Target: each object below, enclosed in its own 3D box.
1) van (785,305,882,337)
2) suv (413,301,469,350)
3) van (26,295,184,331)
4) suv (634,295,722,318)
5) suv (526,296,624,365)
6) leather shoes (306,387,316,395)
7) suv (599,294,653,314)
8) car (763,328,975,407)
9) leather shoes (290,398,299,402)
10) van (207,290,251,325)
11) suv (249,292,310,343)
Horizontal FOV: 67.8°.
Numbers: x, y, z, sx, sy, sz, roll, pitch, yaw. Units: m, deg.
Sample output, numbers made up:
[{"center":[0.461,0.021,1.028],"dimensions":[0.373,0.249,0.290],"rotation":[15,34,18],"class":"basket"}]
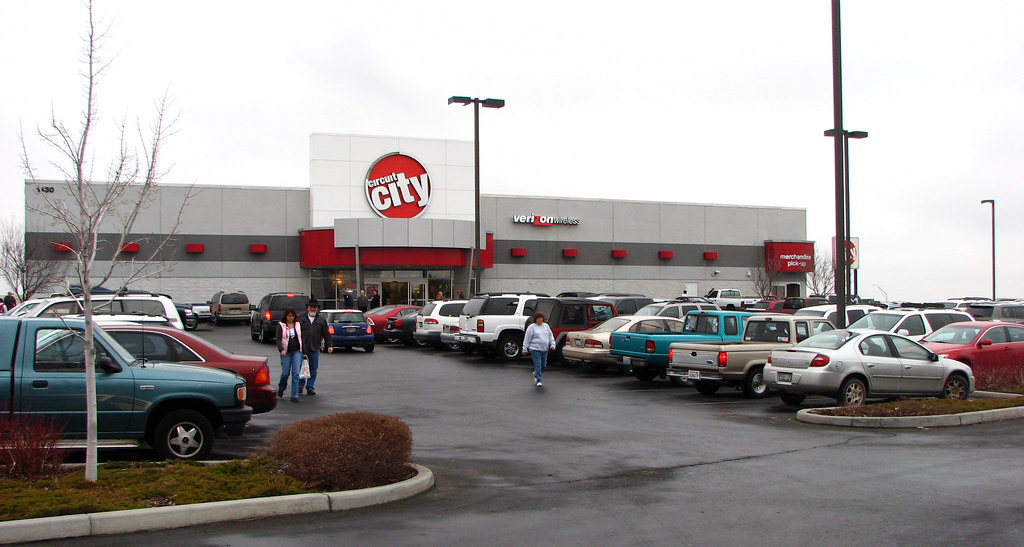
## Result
[{"center":[12.828,2.190,30.233],"dimensions":[3.944,1.535,1.878],"rotation":[-8,6,-32],"class":"van"},{"center":[-2.821,2.183,34.750],"dimensions":[2.956,1.199,1.587],"rotation":[-3,4,-34],"class":"suv"},{"center":[-10.949,1.101,20.638],"dimensions":[3.206,1.038,1.391],"rotation":[1,0,-12],"class":"van"},{"center":[7.412,1.518,33.034],"dimensions":[3.325,1.106,1.752],"rotation":[4,-5,-31],"class":"suv"},{"center":[2.385,2.045,31.007],"dimensions":[3.686,1.812,2.169],"rotation":[-4,4,-23],"class":"suv"},{"center":[-5.953,3.537,22.723],"dimensions":[0.157,0.153,0.412],"rotation":[1,-4,-29],"class":"leather shoes"},{"center":[5.393,1.452,35.665],"dimensions":[2.078,0.908,1.169],"rotation":[5,-7,-33],"class":"suv"},{"center":[10.059,2.714,21.748],"dimensions":[5.366,1.635,2.354],"rotation":[-2,2,-21],"class":"car"},{"center":[-6.079,3.607,21.475],"dimensions":[0.104,0.106,0.274],"rotation":[1,-5,-32],"class":"leather shoes"},{"center":[-17.994,2.294,48.820],"dimensions":[1.854,1.400,3.101],"rotation":[-1,5,-22],"class":"van"},{"center":[-11.349,2.502,37.438],"dimensions":[3.224,2.054,5.219],"rotation":[0,4,-22],"class":"suv"}]
